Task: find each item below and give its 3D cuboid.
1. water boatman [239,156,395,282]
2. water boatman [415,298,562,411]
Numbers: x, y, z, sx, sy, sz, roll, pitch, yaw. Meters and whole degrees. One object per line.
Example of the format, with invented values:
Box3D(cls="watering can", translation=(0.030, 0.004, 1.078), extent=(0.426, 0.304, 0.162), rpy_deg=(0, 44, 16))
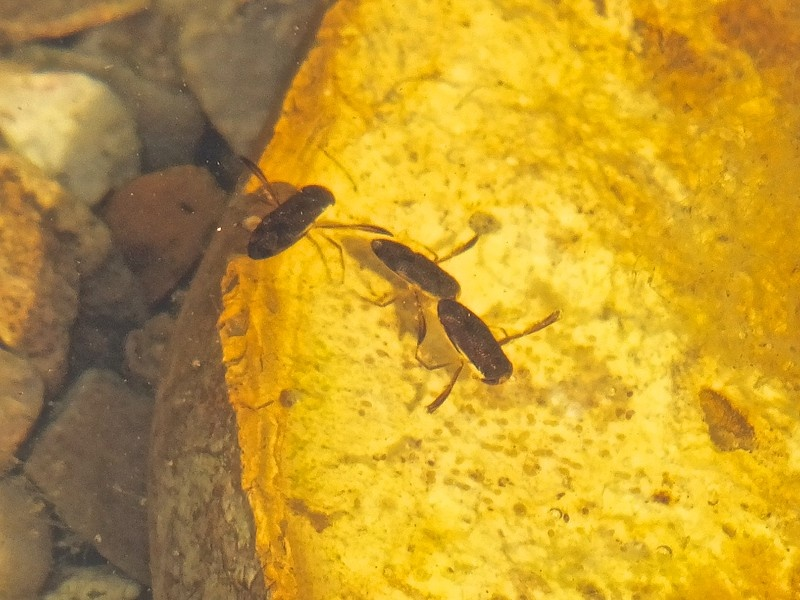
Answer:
Box3D(cls="water boatman", translation=(-0.763, -0.590, 11.191), extent=(0.859, 1.002, 1.146), rpy_deg=(21, 32, 33))
Box3D(cls="water boatman", translation=(0.649, 0.361, 11.012), extent=(1.345, 0.845, 0.959), rpy_deg=(-3, 20, -4))
